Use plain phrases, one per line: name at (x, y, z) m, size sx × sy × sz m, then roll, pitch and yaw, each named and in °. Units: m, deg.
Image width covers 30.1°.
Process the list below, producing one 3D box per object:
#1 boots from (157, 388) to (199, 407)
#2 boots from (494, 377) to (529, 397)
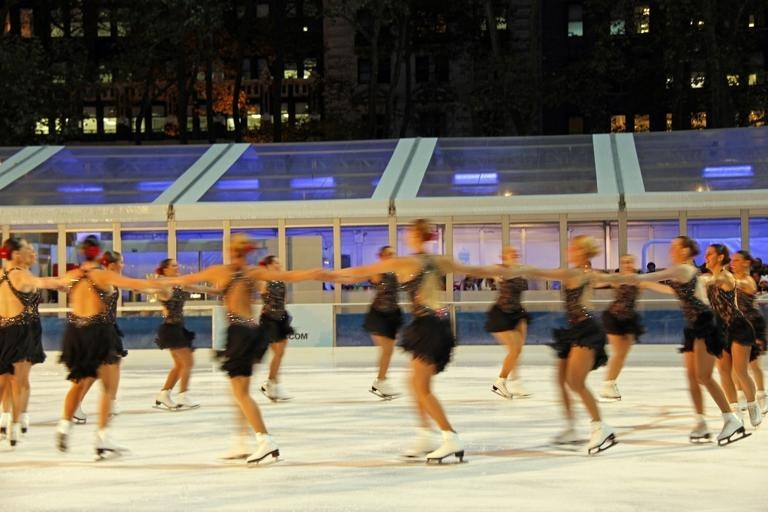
boots at (-5.349, 3.814, 37.978) m, size 1.388 × 0.444 × 0.433 m, roll 0°, pitch -4°, yaw -8°
boots at (3.248, 3.537, 38.397) m, size 1.258 × 0.421 × 0.384 m, roll 0°, pitch 1°, yaw -21°
